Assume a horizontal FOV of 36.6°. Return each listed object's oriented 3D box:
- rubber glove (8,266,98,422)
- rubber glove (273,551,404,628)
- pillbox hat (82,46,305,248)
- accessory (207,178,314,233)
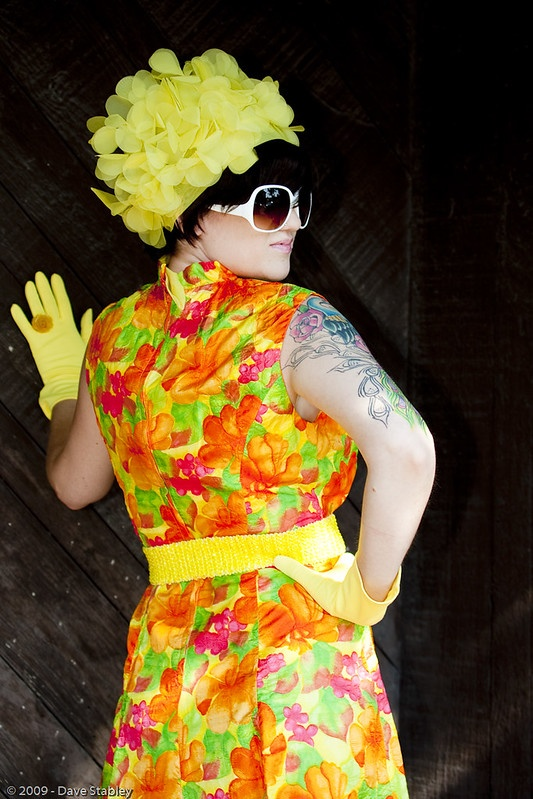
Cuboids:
[{"bbox_3d":[-0.330,-0.085,1.265,0.172,0.066,0.222,-15,96,-9],"label":"rubber glove"},{"bbox_3d":[0.068,0.177,0.838,0.115,0.081,0.053,23,86,8],"label":"rubber glove"},{"bbox_3d":[-0.049,-0.295,0.960,0.255,0.138,0.213,-1,89,9],"label":"pillbox hat"},{"bbox_3d":[0.006,-0.211,0.907,0.081,0.069,0.030,7,100,40],"label":"accessory"}]
